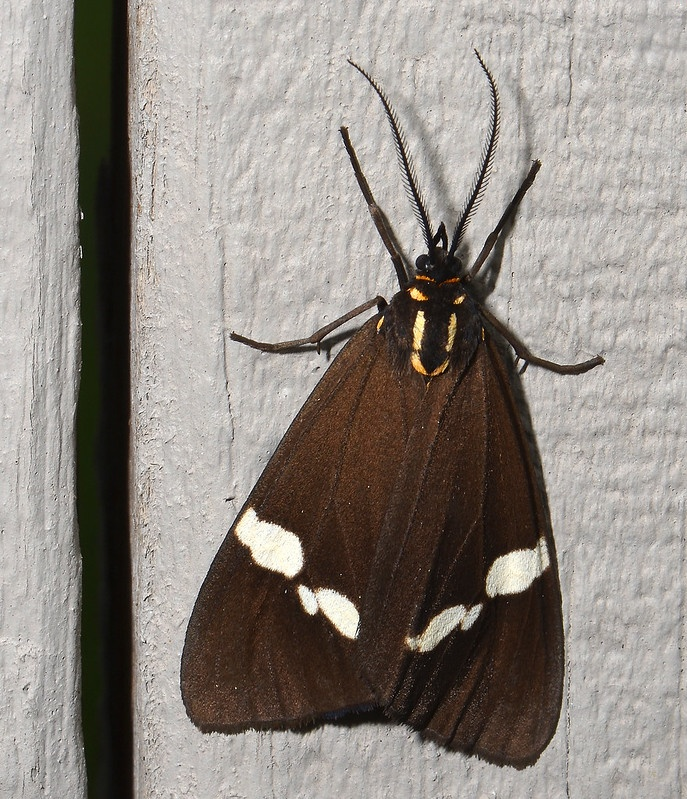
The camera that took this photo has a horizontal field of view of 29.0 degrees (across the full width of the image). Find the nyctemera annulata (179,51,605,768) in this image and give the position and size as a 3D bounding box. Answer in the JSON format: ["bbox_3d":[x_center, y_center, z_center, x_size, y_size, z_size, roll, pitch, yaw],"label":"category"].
[{"bbox_3d":[0.093,-0.103,2.557,0.654,0.996,1.164,0,102,4],"label":"nyctemera annulata"}]
